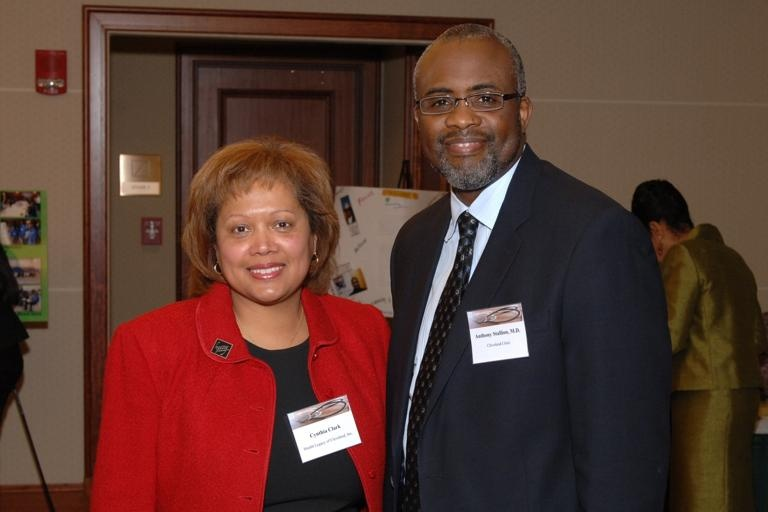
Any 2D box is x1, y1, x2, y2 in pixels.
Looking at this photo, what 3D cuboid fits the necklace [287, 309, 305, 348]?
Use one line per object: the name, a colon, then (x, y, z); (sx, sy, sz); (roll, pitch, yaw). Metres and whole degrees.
necklace: (-0.381, 0.311, 2.871); (0.096, 0.087, 0.131); (0, -11, -4)
